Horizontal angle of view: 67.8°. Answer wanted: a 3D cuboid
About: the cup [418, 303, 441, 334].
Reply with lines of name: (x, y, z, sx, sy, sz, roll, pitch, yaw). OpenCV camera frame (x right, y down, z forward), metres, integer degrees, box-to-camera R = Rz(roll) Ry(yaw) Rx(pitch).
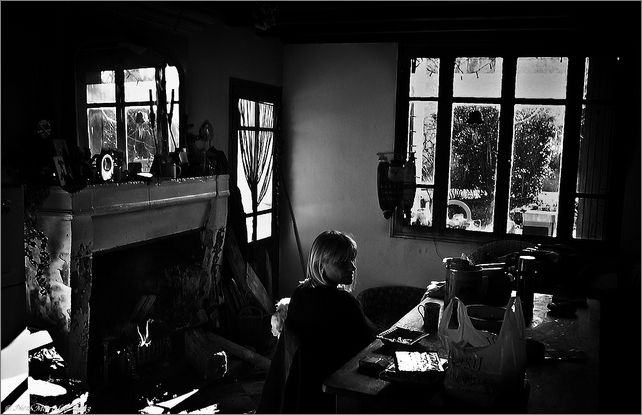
cup: (0.627, 0.619, 2.791, 0.128, 0.134, 0.084, 8, 12, 7)

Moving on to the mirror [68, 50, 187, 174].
mirror: (-1.576, -0.770, 3.829, 0.926, 1.001, 0.063, 2, 8, 9)
